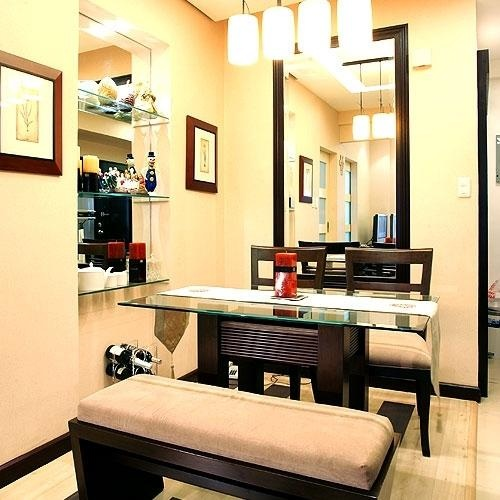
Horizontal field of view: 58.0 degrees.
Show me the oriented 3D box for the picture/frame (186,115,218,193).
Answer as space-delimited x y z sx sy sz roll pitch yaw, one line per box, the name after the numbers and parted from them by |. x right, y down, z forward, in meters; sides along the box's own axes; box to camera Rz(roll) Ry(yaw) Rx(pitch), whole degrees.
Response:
-0.374 -0.743 3.437 0.040 0.753 0.535 0 -2 25 | picture/frame

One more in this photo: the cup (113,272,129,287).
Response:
-0.771 0.169 2.710 0.070 0.084 0.061 -2 -2 27 | cup

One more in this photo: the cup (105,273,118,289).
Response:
-0.811 0.177 2.652 0.055 0.071 0.080 1 -2 -16 | cup

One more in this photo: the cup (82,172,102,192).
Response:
-0.898 -0.393 2.580 0.079 0.126 0.093 0 2 12 | cup

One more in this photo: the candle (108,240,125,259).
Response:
-0.824 -0.007 2.798 0.099 0.105 0.122 -1 4 -16 | candle

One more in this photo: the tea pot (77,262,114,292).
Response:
-0.865 0.153 2.514 0.096 0.127 0.144 -2 -5 23 | tea pot

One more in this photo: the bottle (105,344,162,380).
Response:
-0.681 0.613 2.664 0.300 0.154 0.201 10 11 30 | bottle

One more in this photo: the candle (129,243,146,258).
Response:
-0.704 0.002 2.868 0.123 0.104 0.075 -3 5 -40 | candle

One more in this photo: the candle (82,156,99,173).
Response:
-0.907 -0.499 2.578 0.081 0.118 0.086 -3 4 -33 | candle

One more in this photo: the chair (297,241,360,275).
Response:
0.583 -0.002 3.314 0.282 0.356 0.236 1 3 26 | chair
